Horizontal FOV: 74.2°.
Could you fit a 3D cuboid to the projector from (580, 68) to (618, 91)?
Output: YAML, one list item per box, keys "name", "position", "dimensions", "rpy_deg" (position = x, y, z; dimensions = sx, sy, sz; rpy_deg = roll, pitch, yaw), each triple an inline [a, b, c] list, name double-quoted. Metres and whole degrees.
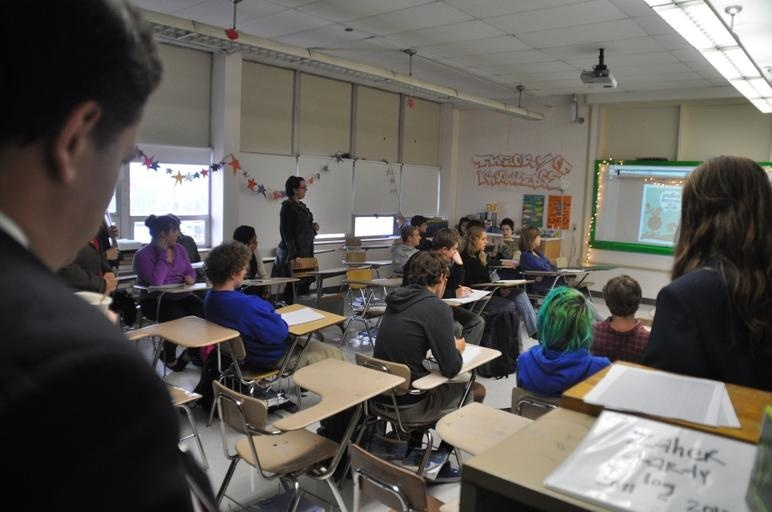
- name: "projector"
  position: [2.296, -2.004, 5.616]
  dimensions: [0.279, 0.119, 0.368]
  rpy_deg: [2, 4, -10]

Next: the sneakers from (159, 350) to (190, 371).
- name: "sneakers"
  position: [-1.780, 0.897, 4.296]
  dimensions: [0.289, 0.117, 0.210]
  rpy_deg: [13, -9, -17]

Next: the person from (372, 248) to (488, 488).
- name: "person"
  position: [0.245, 0.694, 3.091]
  dimensions: [0.741, 1.373, 0.616]
  rpy_deg: [-5, 13, -43]
